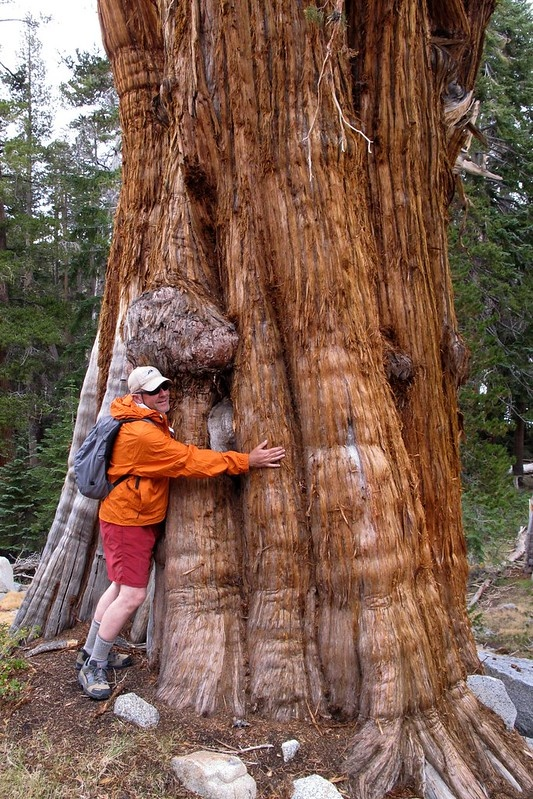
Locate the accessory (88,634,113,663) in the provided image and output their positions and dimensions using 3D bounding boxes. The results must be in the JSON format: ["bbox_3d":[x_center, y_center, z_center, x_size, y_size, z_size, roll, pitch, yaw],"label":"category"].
[{"bbox_3d":[-0.960,1.439,3.445,0.111,0.151,0.146,2,0,-18],"label":"accessory"}]

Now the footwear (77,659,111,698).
[{"bbox_3d":[-0.972,1.564,3.368,0.103,0.173,0.272,14,-9,-33],"label":"footwear"}]

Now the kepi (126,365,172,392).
[{"bbox_3d":[-0.680,-0.112,3.419,0.177,0.136,0.131,-9,3,39],"label":"kepi"}]

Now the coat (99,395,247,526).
[{"bbox_3d":[-0.589,0.380,3.515,0.705,0.726,0.638,4,12,-16],"label":"coat"}]

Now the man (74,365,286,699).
[{"bbox_3d":[-0.518,0.413,4.132,1.556,2.764,1.101,-3,13,-28],"label":"man"}]
